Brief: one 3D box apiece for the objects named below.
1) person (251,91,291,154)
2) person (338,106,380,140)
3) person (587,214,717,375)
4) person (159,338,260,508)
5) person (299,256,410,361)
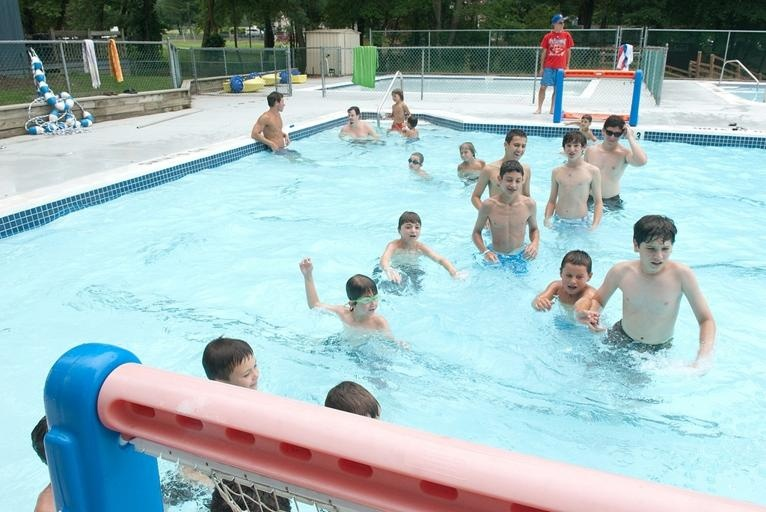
[{"bbox_3d":[-2.007,-2.427,10.241,0.690,1.060,0.924,7,9,-11],"label":"person"},{"bbox_3d":[-0.490,-2.553,11.314,0.900,0.777,0.477,2,12,10],"label":"person"},{"bbox_3d":[2.216,0.355,4.659,1.121,1.383,0.881,4,44,25],"label":"person"},{"bbox_3d":[-1.030,0.976,3.267,0.474,0.973,0.693,9,9,1],"label":"person"},{"bbox_3d":[-0.257,0.394,4.664,0.873,0.626,0.548,15,12,39],"label":"person"}]
